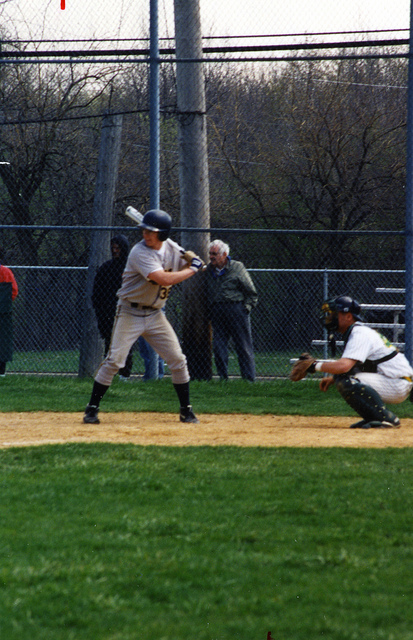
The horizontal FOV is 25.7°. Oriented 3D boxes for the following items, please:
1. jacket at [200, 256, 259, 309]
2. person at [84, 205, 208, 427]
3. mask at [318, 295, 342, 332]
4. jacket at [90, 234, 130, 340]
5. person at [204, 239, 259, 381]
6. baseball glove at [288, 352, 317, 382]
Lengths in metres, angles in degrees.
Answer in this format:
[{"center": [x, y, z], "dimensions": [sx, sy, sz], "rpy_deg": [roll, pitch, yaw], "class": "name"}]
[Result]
[{"center": [0.183, -0.331, 9.009], "dimensions": [0.605, 0.543, 0.333], "rpy_deg": [-5, -7, 22], "class": "jacket"}, {"center": [-0.440, 0.019, 6.426], "dimensions": [0.824, 1.569, 0.580], "rpy_deg": [-1, 8, -8], "class": "person"}, {"center": [0.913, -0.040, 6.507], "dimensions": [0.216, 0.240, 0.174], "rpy_deg": [-9, 24, -17], "class": "mask"}, {"center": [-0.944, -0.314, 9.254], "dimensions": [0.401, 1.073, 0.500], "rpy_deg": [-5, 9, -33], "class": "jacket"}, {"center": [0.230, -0.088, 8.944], "dimensions": [0.514, 1.360, 0.340], "rpy_deg": [0, 8, -1], "class": "person"}, {"center": [0.671, 0.342, 6.376], "dimensions": [0.184, 0.221, 0.093], "rpy_deg": [29, -20, 15], "class": "baseball glove"}]
